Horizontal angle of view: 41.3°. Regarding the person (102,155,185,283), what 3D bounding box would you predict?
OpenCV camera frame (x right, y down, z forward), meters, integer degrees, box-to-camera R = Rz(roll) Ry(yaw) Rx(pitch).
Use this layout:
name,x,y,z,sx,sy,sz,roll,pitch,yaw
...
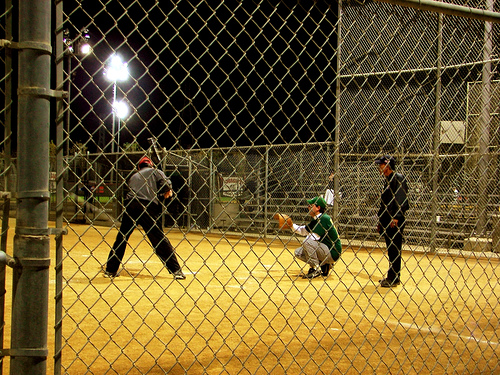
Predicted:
name,x,y,z,sx,sy,sz,roll,pitch,yaw
person,-1.630,0.460,10.085,1.092,1.973,0.657,-1,-28,-4
